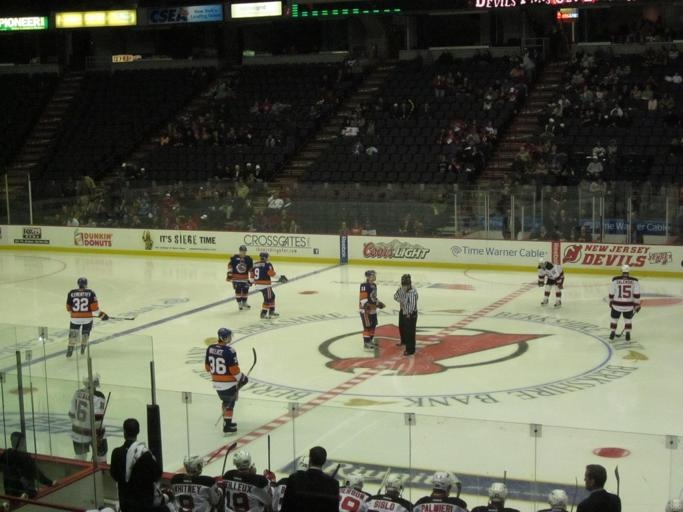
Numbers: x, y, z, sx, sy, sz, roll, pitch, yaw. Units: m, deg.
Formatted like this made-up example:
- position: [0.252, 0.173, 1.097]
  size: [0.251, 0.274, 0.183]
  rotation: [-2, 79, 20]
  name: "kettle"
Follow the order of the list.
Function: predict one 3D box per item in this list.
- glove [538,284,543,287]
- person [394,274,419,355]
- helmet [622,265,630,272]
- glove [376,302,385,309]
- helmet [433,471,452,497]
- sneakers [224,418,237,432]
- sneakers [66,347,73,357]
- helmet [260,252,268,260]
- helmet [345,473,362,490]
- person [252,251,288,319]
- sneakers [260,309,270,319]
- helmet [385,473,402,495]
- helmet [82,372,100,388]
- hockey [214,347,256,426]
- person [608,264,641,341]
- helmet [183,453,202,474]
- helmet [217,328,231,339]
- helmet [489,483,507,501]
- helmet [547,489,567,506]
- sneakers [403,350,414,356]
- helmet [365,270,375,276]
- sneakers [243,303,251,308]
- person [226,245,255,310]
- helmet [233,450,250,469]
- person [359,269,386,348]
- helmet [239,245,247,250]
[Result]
- position: [5.170, 0.786, 22.896]
  size: [0.147, 0.072, 0.212]
  rotation: [-1, -3, 22]
  name: "glove"
- position: [1.361, 1.226, 18.545]
  size: [0.409, 1.738, 0.728]
  rotation: [0, 10, 6]
  name: "person"
- position: [6.292, 0.291, 19.489]
  size: [0.173, 0.144, 0.136]
  rotation: [-1, 20, 16]
  name: "helmet"
- position: [0.813, 1.068, 18.750]
  size: [0.229, 0.097, 0.312]
  rotation: [1, 4, 4]
  name: "glove"
- position: [1.281, 2.899, 11.204]
  size: [0.219, 0.282, 0.285]
  rotation: [3, 5, 19]
  name: "helmet"
- position: [-1.637, 2.497, 12.929]
  size: [0.239, 0.236, 0.116]
  rotation: [-2, 8, -10]
  name: "sneakers"
- position: [-4.003, 1.424, 12.957]
  size: [0.088, 0.039, 0.158]
  rotation: [3, 26, 17]
  name: "sneakers"
- position: [-1.915, -0.009, 21.725]
  size: [0.165, 0.207, 0.214]
  rotation: [-4, -13, 45]
  name: "helmet"
- position: [0.165, 2.878, 11.188]
  size: [0.217, 0.154, 0.201]
  rotation: [-1, 10, -5]
  name: "helmet"
- position: [-1.870, 0.716, 21.742]
  size: [0.605, 1.595, 0.730]
  rotation: [-2, 10, -6]
  name: "person"
- position: [-1.888, 1.438, 21.649]
  size: [0.194, 0.212, 0.193]
  rotation: [-3, 11, -21]
  name: "sneakers"
- position: [0.660, 2.925, 11.179]
  size: [0.204, 0.333, 0.420]
  rotation: [0, 10, 3]
  name: "helmet"
- position: [-3.687, 1.849, 12.963]
  size: [0.182, 0.167, 0.222]
  rotation: [-1, -5, 20]
  name: "helmet"
- position: [-1.883, 2.376, 16.889]
  size: [0.384, 1.173, 0.099]
  rotation: [29, -5, -6]
  name: "hockey"
- position: [6.312, 0.977, 19.645]
  size: [0.653, 1.648, 1.199]
  rotation: [3, 10, 19]
  name: "person"
- position: [-1.948, 2.766, 11.566]
  size: [0.217, 0.278, 0.208]
  rotation: [-2, 10, -8]
  name: "helmet"
- position: [-1.989, 1.343, 15.110]
  size: [0.215, 0.202, 0.170]
  rotation: [-20, 14, -19]
  name: "helmet"
- position: [1.995, 2.986, 11.121]
  size: [0.206, 0.255, 0.262]
  rotation: [0, 4, -1]
  name: "helmet"
- position: [2.651, 2.968, 10.818]
  size: [0.184, 0.250, 0.246]
  rotation: [4, 13, 19]
  name: "helmet"
- position: [1.421, 2.039, 18.545]
  size: [0.211, 0.207, 0.107]
  rotation: [0, 7, 2]
  name: "sneakers"
- position: [0.609, 0.379, 18.768]
  size: [0.105, 0.108, 0.140]
  rotation: [-1, -1, -25]
  name: "helmet"
- position: [-2.437, 1.309, 22.710]
  size: [0.173, 0.079, 0.059]
  rotation: [1, 11, -8]
  name: "sneakers"
- position: [-2.597, 0.534, 22.590]
  size: [0.640, 1.707, 1.259]
  rotation: [-2, 10, -7]
  name: "person"
- position: [-1.291, 2.647, 11.455]
  size: [0.183, 0.212, 0.225]
  rotation: [3, 14, 8]
  name: "helmet"
- position: [0.636, 1.118, 19.037]
  size: [0.495, 1.674, 1.031]
  rotation: [0, 10, 1]
  name: "person"
- position: [-2.500, -0.186, 22.259]
  size: [0.241, 0.150, 0.385]
  rotation: [-1, 3, -13]
  name: "helmet"
